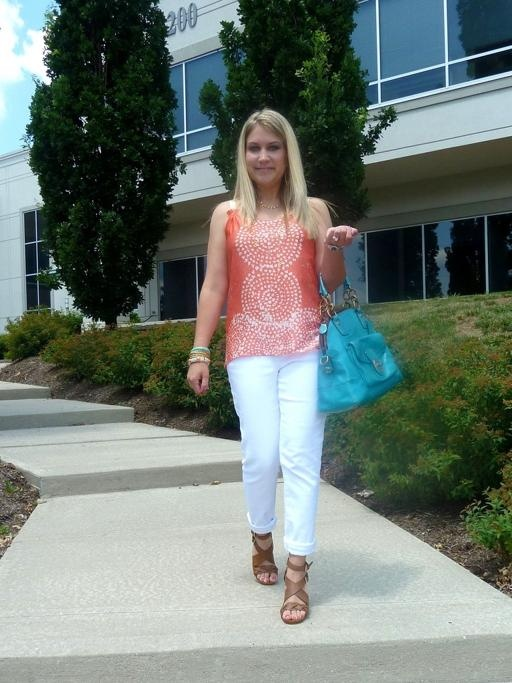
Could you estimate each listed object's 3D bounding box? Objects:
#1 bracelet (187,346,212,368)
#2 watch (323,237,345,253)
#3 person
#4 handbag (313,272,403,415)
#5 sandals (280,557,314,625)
[{"bbox_3d":[-0.228,0.057,2.646,0.083,0.074,0.065,3,39,7],"label":"bracelet"},{"bbox_3d":[0.283,-0.355,2.418,0.058,0.026,0.070,-5,25,4],"label":"watch"},{"bbox_3d":[0.073,0.016,2.563,0.533,1.425,0.718,-2,1,-32],"label":"person"},{"bbox_3d":[0.351,0.003,2.498,0.358,0.336,0.264,-1,1,-40],"label":"handbag"},{"bbox_3d":[0.143,0.891,2.338,0.123,0.139,0.352,-2,-14,3],"label":"sandals"}]
